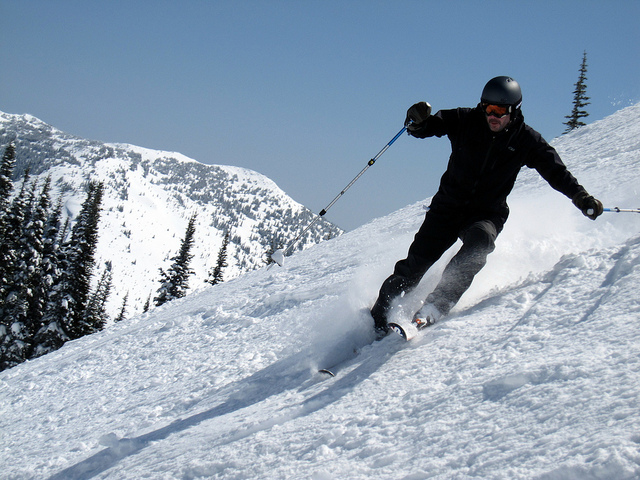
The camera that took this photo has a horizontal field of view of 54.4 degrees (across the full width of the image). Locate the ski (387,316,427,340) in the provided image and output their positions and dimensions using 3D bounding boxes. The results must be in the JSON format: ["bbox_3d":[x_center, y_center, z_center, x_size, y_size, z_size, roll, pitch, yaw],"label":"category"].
[{"bbox_3d":[1.196,1.180,8.366,0.247,0.107,0.429,34,20,24],"label":"ski"}]
